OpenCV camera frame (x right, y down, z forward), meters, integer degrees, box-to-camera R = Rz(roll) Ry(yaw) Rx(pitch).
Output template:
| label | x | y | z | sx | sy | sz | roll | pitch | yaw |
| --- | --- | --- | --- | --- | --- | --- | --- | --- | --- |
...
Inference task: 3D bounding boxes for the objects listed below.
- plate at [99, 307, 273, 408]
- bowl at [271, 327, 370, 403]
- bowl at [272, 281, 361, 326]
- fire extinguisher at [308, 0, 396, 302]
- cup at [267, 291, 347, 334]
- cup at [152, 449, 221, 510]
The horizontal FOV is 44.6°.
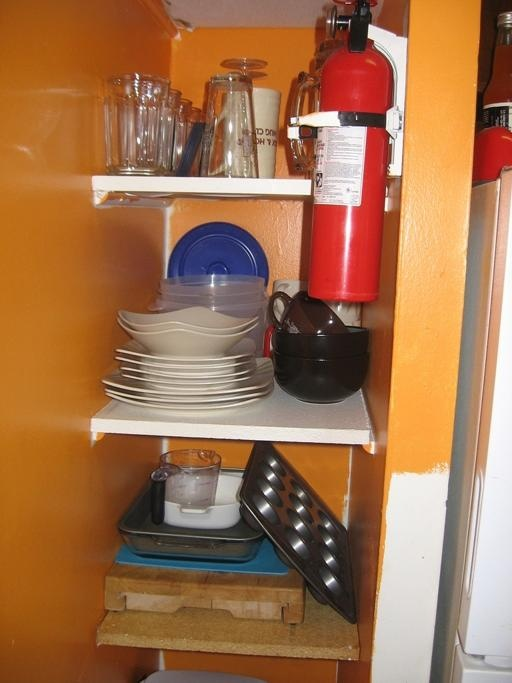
| label | x | y | z | sx | sy | sz | roll | pitch | yaw |
| --- | --- | --- | --- | --- | --- | --- | --- | --- | --- |
| plate | -0.132 | 0.000 | 1.045 | 0.212 | 0.087 | 0.203 | 2 | 10 | 8 |
| bowl | 0.111 | 0.039 | 1.097 | 0.133 | 0.101 | 0.145 | -1 | -1 | 0 |
| bowl | 0.114 | -0.068 | 1.269 | 0.173 | 0.119 | 0.132 | 7 | 9 | 32 |
| fire extinguisher | 0.134 | -0.228 | 0.874 | 0.105 | 0.338 | 0.060 | 4 | 14 | 4 |
| cup | 0.089 | -0.039 | 1.081 | 0.113 | 0.052 | 0.077 | 16 | -2 | 4 |
| cup | -0.127 | 0.273 | 1.251 | 0.097 | 0.080 | 0.117 | 0 | 5 | -2 |
